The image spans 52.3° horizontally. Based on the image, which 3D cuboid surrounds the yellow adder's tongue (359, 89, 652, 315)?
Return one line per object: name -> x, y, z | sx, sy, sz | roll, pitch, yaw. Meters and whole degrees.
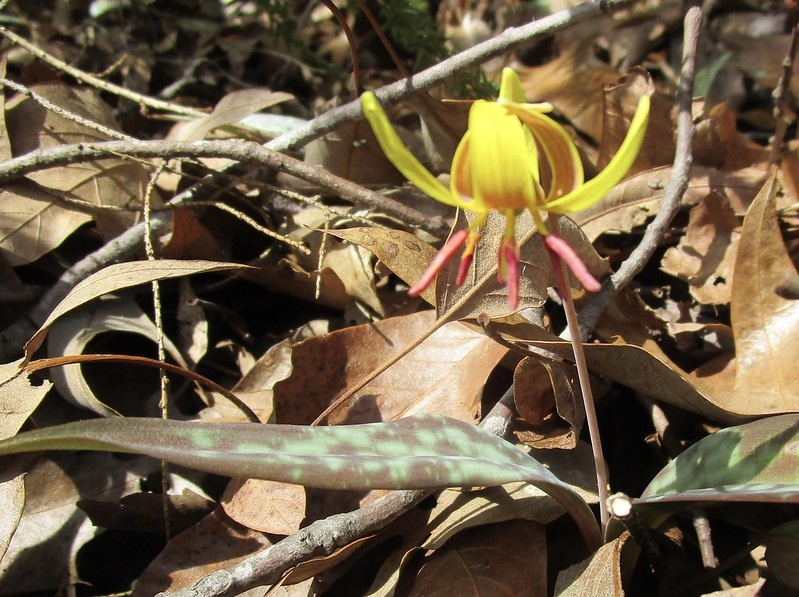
yellow adder's tongue -> 0.227, -0.217, 1.840 | 0.530, 0.409, 0.471 | -20, -10, 38
